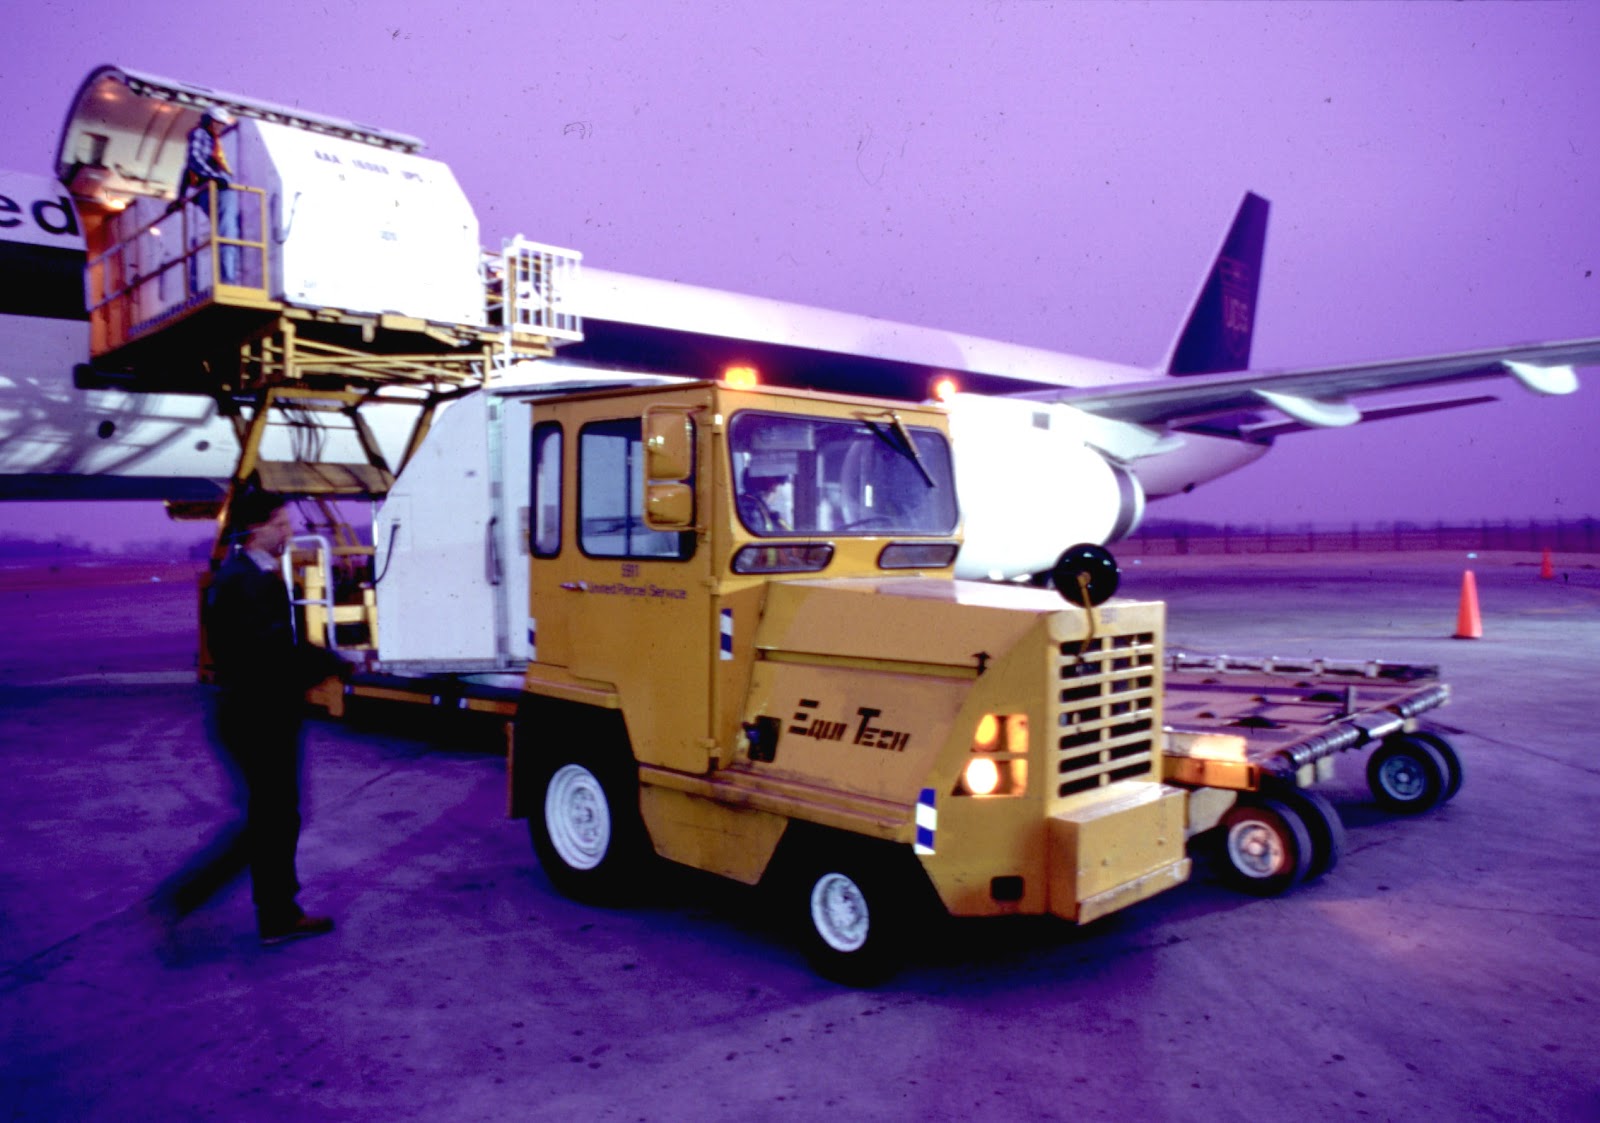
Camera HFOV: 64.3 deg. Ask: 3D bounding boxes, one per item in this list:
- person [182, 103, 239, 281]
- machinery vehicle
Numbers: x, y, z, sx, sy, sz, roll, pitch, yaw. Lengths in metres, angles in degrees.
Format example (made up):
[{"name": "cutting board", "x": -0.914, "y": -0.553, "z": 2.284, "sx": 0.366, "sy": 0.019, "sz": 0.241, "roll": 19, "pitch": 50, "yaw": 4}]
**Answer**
[{"name": "person", "x": -5.664, "y": -3.516, "z": 12.266, "sx": 0.570, "sy": 1.732, "sz": 1.278, "roll": -7, "pitch": 15, "yaw": -23}, {"name": "machinery vehicle", "x": 0.339, "y": 0.612, "z": 8.413, "sx": 4.109, "sy": 3.308, "sz": 2.931, "roll": 2, "pitch": 4, "yaw": 42}]
